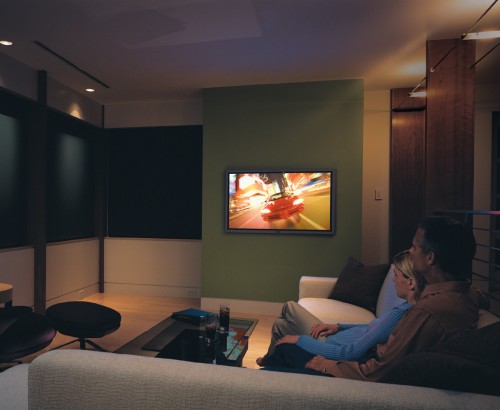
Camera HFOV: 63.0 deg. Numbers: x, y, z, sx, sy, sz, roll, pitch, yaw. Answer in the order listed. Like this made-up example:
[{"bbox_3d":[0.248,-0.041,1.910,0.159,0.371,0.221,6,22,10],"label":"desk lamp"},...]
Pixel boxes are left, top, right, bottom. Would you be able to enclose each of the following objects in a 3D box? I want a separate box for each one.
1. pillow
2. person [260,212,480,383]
[{"bbox_3d":[0.961,0.701,3.603,0.139,0.437,0.453,35,-16,-33],"label":"pillow"},{"bbox_3d":[0.606,0.492,2.414,1.359,0.947,0.674,-7,-3,35],"label":"person"}]
